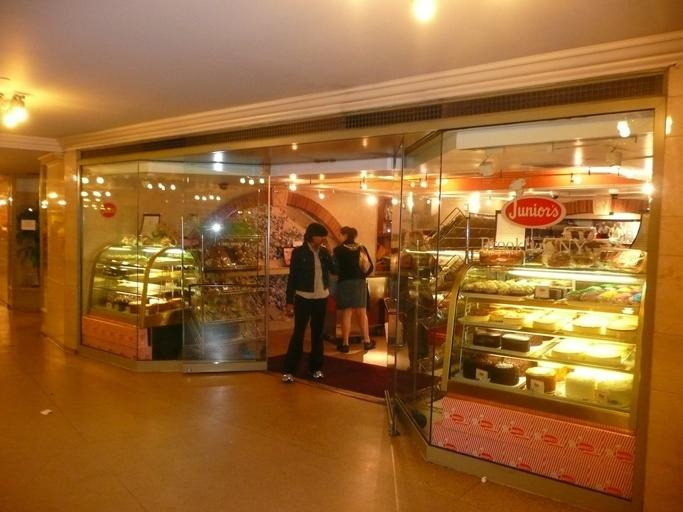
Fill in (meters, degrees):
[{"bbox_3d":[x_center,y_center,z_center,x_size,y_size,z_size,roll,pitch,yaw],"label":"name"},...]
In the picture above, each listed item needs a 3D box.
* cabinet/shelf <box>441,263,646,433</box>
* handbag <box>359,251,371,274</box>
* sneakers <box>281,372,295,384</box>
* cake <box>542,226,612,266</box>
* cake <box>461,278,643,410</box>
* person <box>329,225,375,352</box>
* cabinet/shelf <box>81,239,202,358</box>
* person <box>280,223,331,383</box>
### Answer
[{"bbox_3d":[1.829,0.669,4.833,1.930,1.506,1.167,4,1,27],"label":"cabinet/shelf"},{"bbox_3d":[0.357,0.112,7.907,0.153,0.365,0.320,-3,12,18],"label":"handbag"},{"bbox_3d":[-0.660,1.510,6.411,0.159,0.092,0.053,-10,-17,-21],"label":"sneakers"},{"bbox_3d":[2.000,-0.069,4.450,0.538,0.320,0.360,4,8,25],"label":"cake"},{"bbox_3d":[1.930,0.604,4.733,1.755,1.201,0.985,5,1,29],"label":"cake"},{"bbox_3d":[0.191,0.514,7.975,0.604,1.909,0.452,0,7,-2],"label":"person"},{"bbox_3d":[-2.581,0.588,6.913,1.656,1.456,0.912,5,2,31],"label":"cabinet/shelf"},{"bbox_3d":[-0.430,0.586,6.519,0.694,1.950,0.374,-2,7,-22],"label":"person"}]
